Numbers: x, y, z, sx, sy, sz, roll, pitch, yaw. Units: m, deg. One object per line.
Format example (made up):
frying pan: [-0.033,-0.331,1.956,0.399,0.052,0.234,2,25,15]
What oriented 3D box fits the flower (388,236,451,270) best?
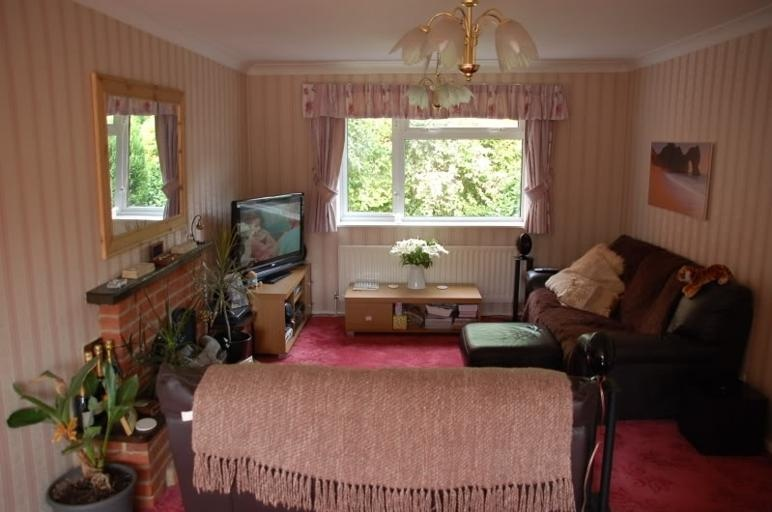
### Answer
flower: [0.390,-0.010,6.657,0.656,0.381,0.507,-1,11,1]

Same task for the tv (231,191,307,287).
tv: [-1.276,-0.171,6.124,0.263,0.712,1.000,2,9,19]

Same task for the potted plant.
potted plant: [-1.522,0.369,5.366,0.489,1.178,1.574,-3,11,-14]

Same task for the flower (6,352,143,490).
flower: [-2.049,0.894,3.769,0.734,0.819,0.801,-9,11,-38]

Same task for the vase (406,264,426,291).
vase: [0.340,0.253,6.529,0.252,0.270,0.237,-2,8,-12]

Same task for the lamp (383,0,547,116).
lamp: [0.672,-1.625,4.712,0.964,0.514,1.064,-3,18,-8]
